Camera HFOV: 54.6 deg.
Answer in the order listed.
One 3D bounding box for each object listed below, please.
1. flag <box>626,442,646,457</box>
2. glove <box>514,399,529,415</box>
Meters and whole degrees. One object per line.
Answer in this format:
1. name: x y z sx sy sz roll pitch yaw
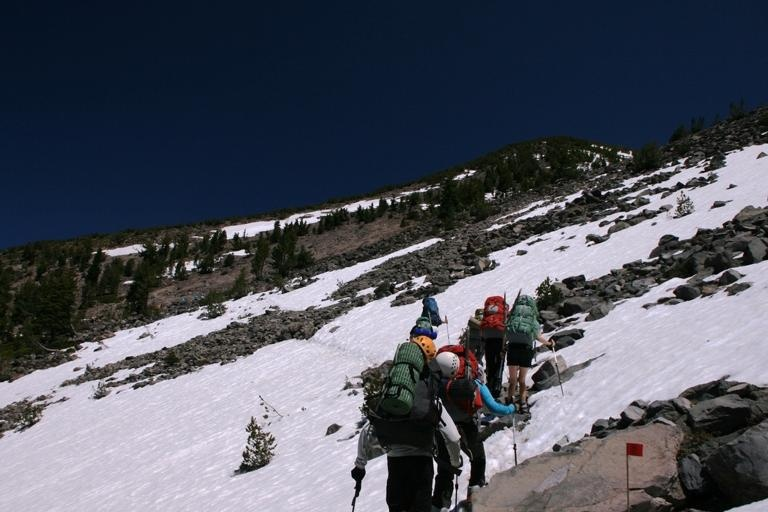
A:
1. flag: 9.329 7.189 27.684 0.680 0.488 0.057 -1 -8 6
2. glove: 5.792 6.303 31.026 0.340 0.434 0.702 6 -40 -15
